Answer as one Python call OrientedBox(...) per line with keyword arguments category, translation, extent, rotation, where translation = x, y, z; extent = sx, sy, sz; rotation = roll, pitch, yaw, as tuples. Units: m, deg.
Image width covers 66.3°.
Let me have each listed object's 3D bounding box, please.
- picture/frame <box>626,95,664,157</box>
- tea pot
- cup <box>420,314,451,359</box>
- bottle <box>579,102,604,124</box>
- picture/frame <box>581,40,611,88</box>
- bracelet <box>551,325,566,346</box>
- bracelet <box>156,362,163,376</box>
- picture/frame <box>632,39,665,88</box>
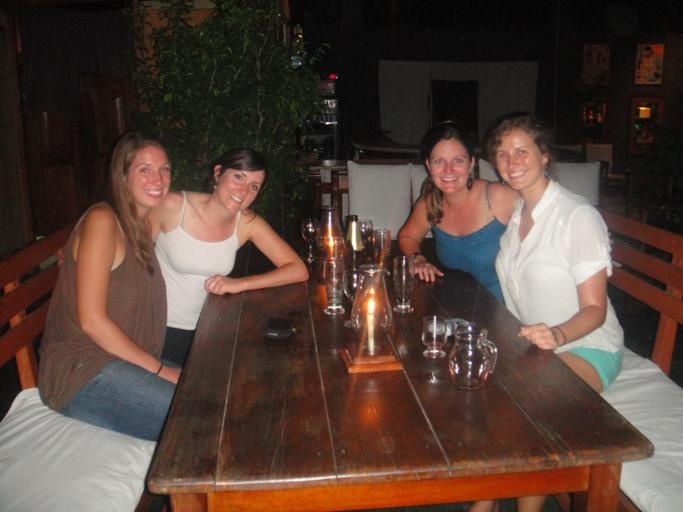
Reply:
OrientedBox(category="picture/frame", translation=(5.960, -2.517, 10.171), extent=(0.597, 1.084, 0.333), rotation=(-4, 16, -12))
OrientedBox(category="tea pot", translation=(0.408, 0.322, 1.637), extent=(0.184, 0.196, 0.145), rotation=(2, 0, -4))
OrientedBox(category="cup", translation=(0.325, 0.285, 1.904), extent=(0.118, 0.188, 0.122), rotation=(-2, 11, 0))
OrientedBox(category="bottle", translation=(4.925, -2.813, 10.249), extent=(0.327, 0.350, 0.176), rotation=(4, 23, 12))
OrientedBox(category="picture/frame", translation=(4.880, -3.655, 10.021), extent=(0.561, 0.746, 0.112), rotation=(-2, 16, -4))
OrientedBox(category="bracelet", translation=(0.803, 0.294, 1.934), extent=(0.027, 0.077, 0.055), rotation=(-31, 10, 4))
OrientedBox(category="bracelet", translation=(-0.765, 0.474, 2.180), extent=(0.009, 0.034, 0.035), rotation=(20, -8, -6))
OrientedBox(category="picture/frame", translation=(5.910, -3.652, 9.990), extent=(0.584, 0.763, 0.167), rotation=(-5, 16, -12))
